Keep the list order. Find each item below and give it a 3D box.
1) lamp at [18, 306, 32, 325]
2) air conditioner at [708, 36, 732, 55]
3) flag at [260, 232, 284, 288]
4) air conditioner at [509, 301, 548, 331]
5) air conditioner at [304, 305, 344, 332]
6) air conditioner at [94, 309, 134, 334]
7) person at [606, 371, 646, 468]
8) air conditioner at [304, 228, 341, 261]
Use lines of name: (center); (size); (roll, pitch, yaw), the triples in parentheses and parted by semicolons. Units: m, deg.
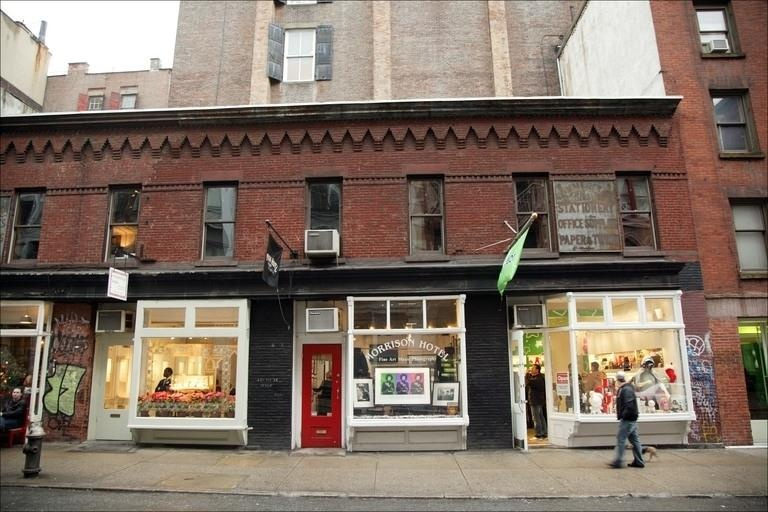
lamp: (-11.372, 1.893, 19.295); (0.387, 0.568, 0.123); (1, 5, 16)
air conditioner: (11.241, -7.078, 20.341); (0.739, 0.596, 0.368); (5, -26, 10)
flag: (-3.327, 0.183, 18.086); (0.504, 1.667, 1.147); (-1, 5, -9)
air conditioner: (4.553, 1.867, 19.246); (1.344, 0.840, 0.705); (1, -8, 2)
air conditioner: (-1.928, 2.014, 19.231); (1.451, 0.695, 0.886); (1, -1, 1)
air conditioner: (-8.712, 2.120, 19.668); (1.424, 0.849, 0.707); (0, -10, -5)
person: (6.807, 4.503, 16.965); (0.870, 2.547, 1.506); (2, 5, 22)
air conditioner: (-1.967, -0.361, 18.955); (1.565, 1.098, 0.820); (-1, -14, 1)
